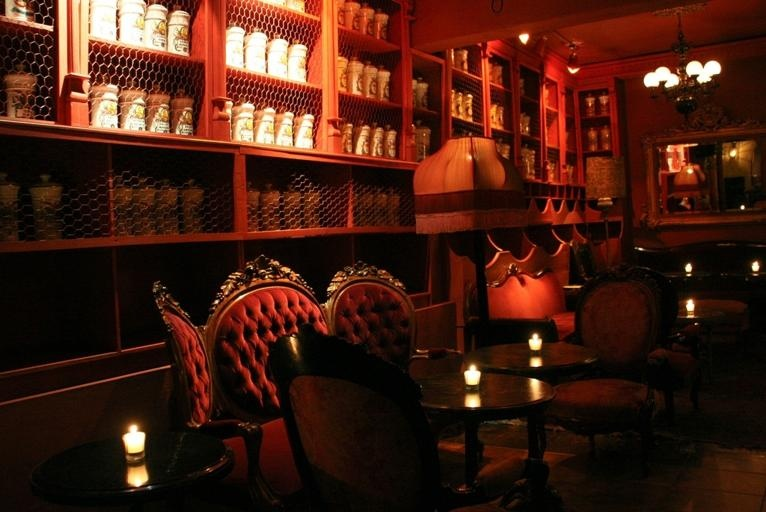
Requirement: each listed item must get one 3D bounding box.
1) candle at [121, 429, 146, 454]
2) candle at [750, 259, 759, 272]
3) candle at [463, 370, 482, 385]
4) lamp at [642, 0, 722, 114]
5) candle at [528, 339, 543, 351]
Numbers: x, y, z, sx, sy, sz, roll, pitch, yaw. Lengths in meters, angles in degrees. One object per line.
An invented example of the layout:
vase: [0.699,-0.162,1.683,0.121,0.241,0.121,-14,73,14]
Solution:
candle: [-1.047,0.775,2.553,0.125,0.091,0.120,0,0,-25]
candle: [4.564,0.128,7.339,0.099,0.163,0.119,-5,8,-34]
candle: [0.495,0.664,3.306,0.088,0.061,0.078,0,0,-18]
lamp: [3.468,-2.318,6.908,0.902,1.216,0.711,-17,8,-34]
candle: [1.032,0.598,4.052,0.085,0.069,0.083,-1,-2,-1]
